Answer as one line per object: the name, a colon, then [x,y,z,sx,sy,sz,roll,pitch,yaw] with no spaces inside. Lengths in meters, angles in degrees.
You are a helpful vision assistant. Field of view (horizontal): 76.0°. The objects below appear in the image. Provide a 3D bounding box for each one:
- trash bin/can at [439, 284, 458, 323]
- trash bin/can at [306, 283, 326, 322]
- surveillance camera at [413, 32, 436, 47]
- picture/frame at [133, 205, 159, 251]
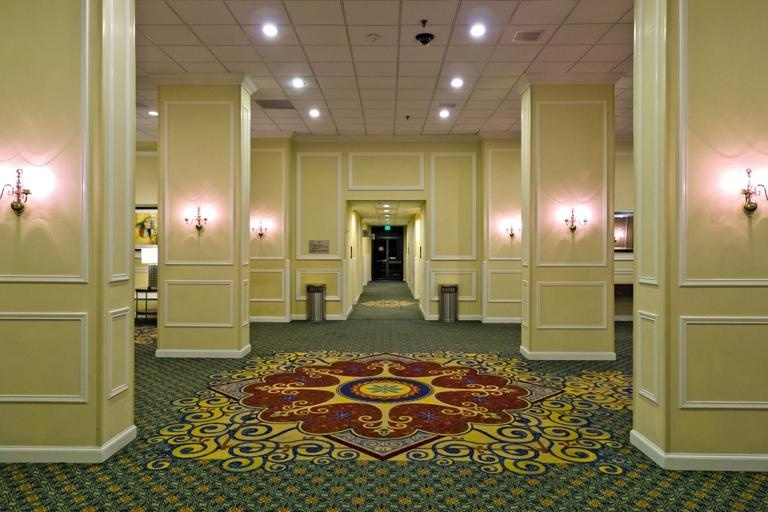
trash bin/can: [1.542,1.157,11.821,0.442,0.865,0.186,1,7,5]
trash bin/can: [-1.644,1.148,11.851,0.485,0.867,0.457,-1,7,-9]
surveillance camera: [0.573,-3.069,6.959,0.264,0.083,0.376,1,6,5]
picture/frame: [-5.903,-0.696,12.200,0.582,1.039,0.401,-1,7,-5]
